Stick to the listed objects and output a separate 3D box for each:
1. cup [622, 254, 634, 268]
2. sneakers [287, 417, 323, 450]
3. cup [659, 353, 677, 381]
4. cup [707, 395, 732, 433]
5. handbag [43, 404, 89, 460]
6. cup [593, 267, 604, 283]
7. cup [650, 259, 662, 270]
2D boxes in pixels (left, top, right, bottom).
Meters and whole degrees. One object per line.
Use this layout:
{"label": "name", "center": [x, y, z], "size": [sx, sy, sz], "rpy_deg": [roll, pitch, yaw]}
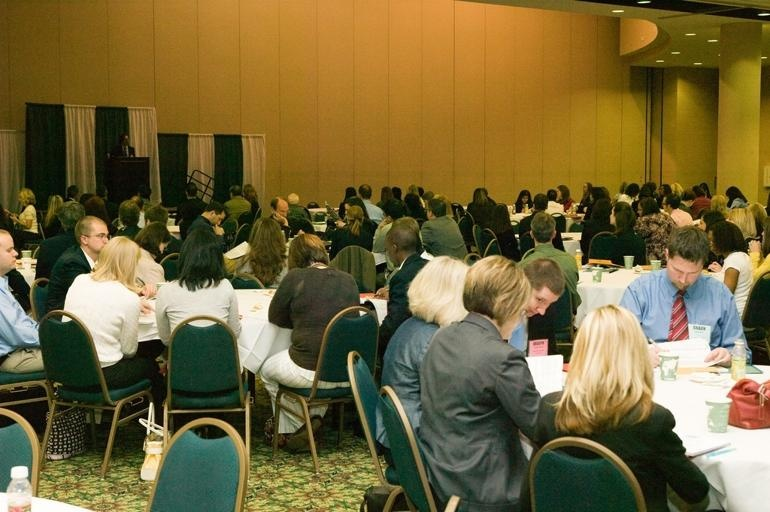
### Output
{"label": "cup", "center": [2.666, 0.057, 7.153], "size": [0.117, 0.141, 0.127], "rpy_deg": [0, -2, 0]}
{"label": "sneakers", "center": [-0.603, 1.359, 4.914], "size": [0.234, 0.208, 0.100], "rpy_deg": [-15, 36, -9]}
{"label": "cup", "center": [1.604, 0.640, 3.775], "size": [0.115, 0.138, 0.111], "rpy_deg": [-1, 7, 0]}
{"label": "cup", "center": [1.596, 0.763, 3.147], "size": [0.133, 0.176, 0.141], "rpy_deg": [-1, -5, 0]}
{"label": "handbag", "center": [-2.411, 1.300, 4.762], "size": [0.204, 0.390, 0.357], "rpy_deg": [-1, -4, 19]}
{"label": "cup", "center": [2.125, 0.186, 6.554], "size": [0.122, 0.140, 0.129], "rpy_deg": [0, -8, 0]}
{"label": "cup", "center": [2.765, 0.086, 6.703], "size": [0.100, 0.086, 0.097], "rpy_deg": [0, -1, 0]}
